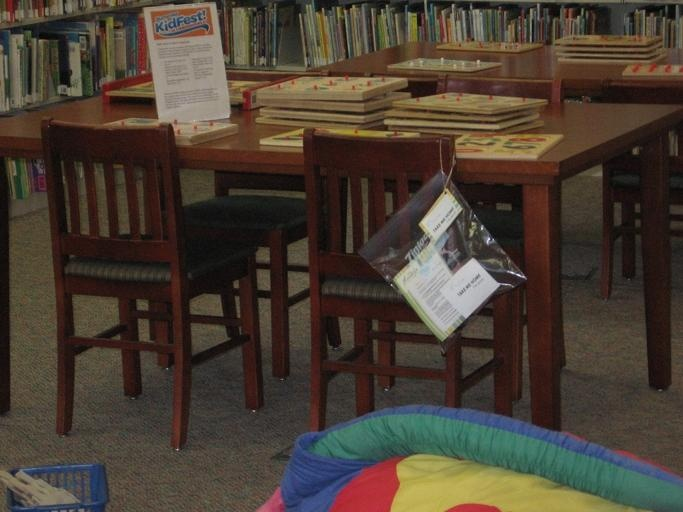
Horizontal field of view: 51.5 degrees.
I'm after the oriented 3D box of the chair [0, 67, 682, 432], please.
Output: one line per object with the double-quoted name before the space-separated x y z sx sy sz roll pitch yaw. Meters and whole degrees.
"chair" 0.026 -0.005 2.477 1.520 0.683 0.817 3 11 27
